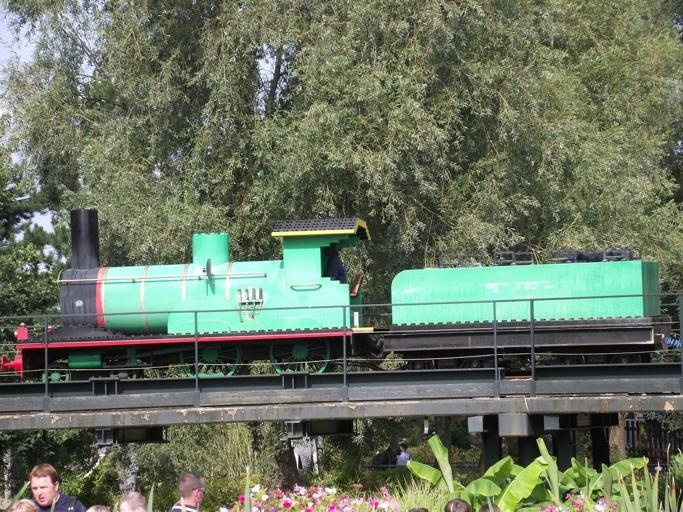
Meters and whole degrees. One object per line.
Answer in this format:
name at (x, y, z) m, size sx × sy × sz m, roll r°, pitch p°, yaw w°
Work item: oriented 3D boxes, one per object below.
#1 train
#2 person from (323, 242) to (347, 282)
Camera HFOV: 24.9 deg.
train at (-0.302, 1.186, 39.414) m, size 15.239 × 4.476 × 2.134 m, roll 0°, pitch 12°, yaw 9°
person at (-0.224, 0.210, 40.388) m, size 0.604 × 0.484 × 1.585 m, roll -9°, pitch 38°, yaw 4°
